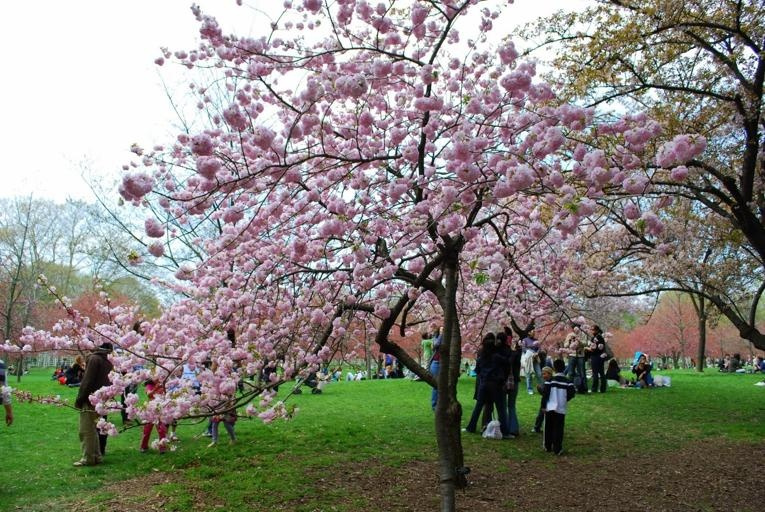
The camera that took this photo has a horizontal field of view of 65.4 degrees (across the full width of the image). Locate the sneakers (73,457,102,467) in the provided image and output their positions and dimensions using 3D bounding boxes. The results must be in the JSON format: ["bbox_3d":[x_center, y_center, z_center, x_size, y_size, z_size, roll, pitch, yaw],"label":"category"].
[{"bbox_3d":[-5.817,4.083,11.860,0.515,0.215,0.187,10,-13,-13],"label":"sneakers"}]
